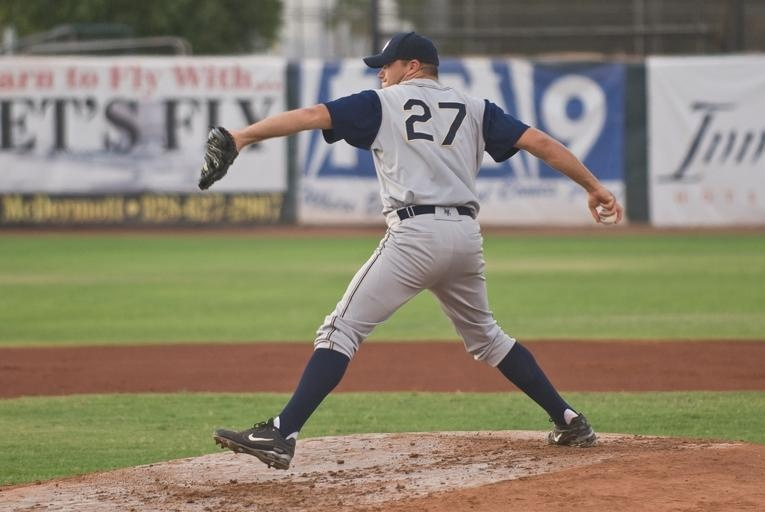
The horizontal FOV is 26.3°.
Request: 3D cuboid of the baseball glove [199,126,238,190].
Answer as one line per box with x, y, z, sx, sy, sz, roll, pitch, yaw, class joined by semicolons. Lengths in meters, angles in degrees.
-1.766;-1.077;17.914;0.427;0.686;0.305;-1;5;-7;baseball glove
